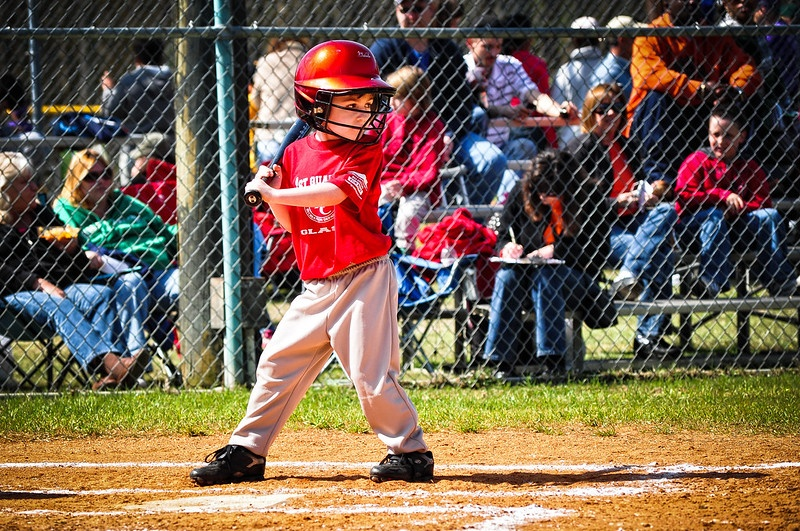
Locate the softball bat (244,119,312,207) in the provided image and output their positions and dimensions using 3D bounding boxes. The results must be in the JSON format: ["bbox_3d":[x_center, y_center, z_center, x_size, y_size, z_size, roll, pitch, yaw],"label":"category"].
[{"bbox_3d":[-0.729,-0.773,8.163,0.215,0.169,0.973,22,48,3],"label":"softball bat"}]

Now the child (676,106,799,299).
[{"bbox_3d":[2.651,-0.507,10.073,0.945,1.565,0.503,1,14,5],"label":"child"}]

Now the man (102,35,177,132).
[{"bbox_3d":[-2.309,-1.597,11.154,0.604,0.879,3.596,-4,15,-12],"label":"man"}]

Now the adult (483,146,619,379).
[{"bbox_3d":[1.168,-0.010,9.869,1.026,1.709,0.490,0,14,3],"label":"adult"}]

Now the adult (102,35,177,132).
[{"bbox_3d":[-2.312,-1.600,11.167,0.604,0.879,3.623,-4,15,-12],"label":"adult"}]

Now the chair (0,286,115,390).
[{"bbox_3d":[-2.501,0.564,9.691,0.931,0.742,0.646,-3,-4,15],"label":"chair"}]

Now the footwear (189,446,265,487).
[{"bbox_3d":[-1.091,1.305,8.155,0.508,0.244,0.209,1,-2,-11],"label":"footwear"}]

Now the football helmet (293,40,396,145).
[{"bbox_3d":[-0.385,-1.103,7.984,0.516,0.599,0.661,-6,13,-44],"label":"football helmet"}]

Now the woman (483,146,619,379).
[{"bbox_3d":[1.168,-0.010,9.869,1.026,1.709,0.490,0,14,3],"label":"woman"}]

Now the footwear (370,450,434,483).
[{"bbox_3d":[0.013,1.294,8.139,0.387,0.207,0.175,3,-3,-6],"label":"footwear"}]
